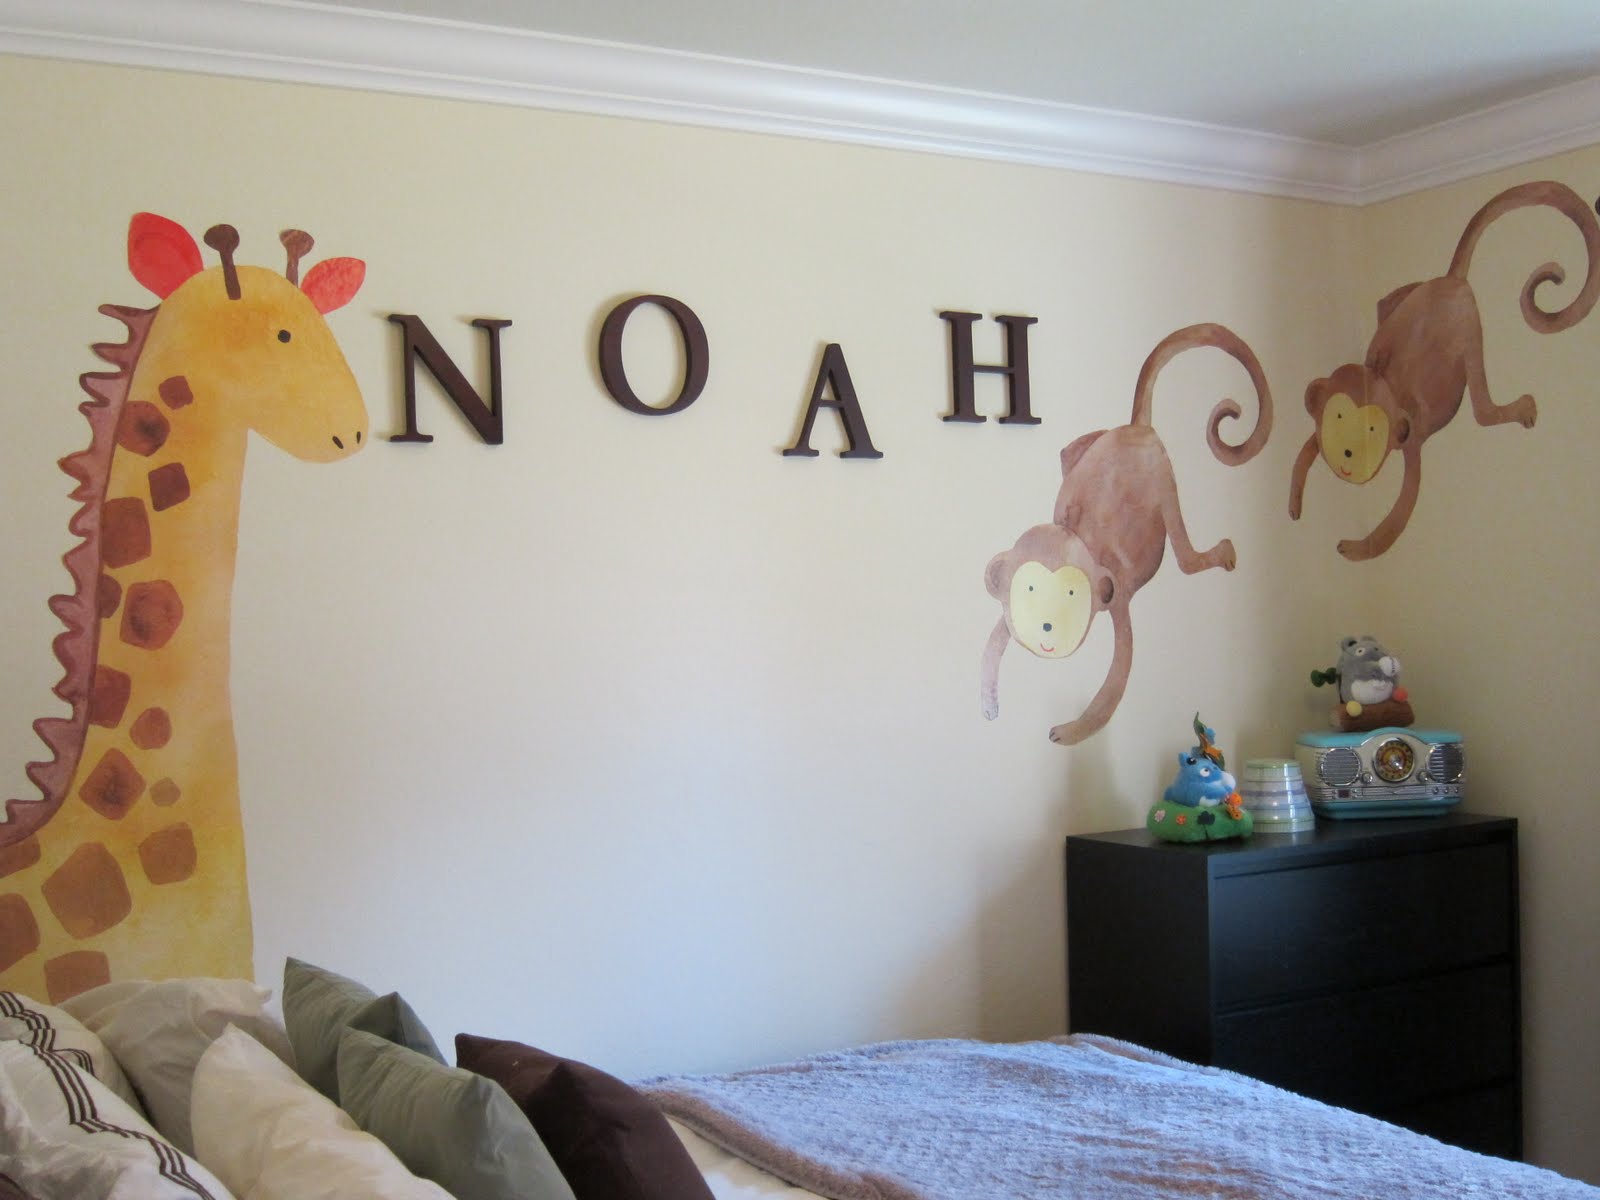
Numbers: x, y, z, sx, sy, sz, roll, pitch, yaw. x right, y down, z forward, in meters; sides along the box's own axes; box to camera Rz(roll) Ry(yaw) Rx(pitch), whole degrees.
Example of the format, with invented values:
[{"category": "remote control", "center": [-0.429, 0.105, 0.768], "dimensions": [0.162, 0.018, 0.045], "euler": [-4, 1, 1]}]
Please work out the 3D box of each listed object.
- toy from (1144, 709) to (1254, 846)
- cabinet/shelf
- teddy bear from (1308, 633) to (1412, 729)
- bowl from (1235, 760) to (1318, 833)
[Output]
[{"category": "toy", "center": [1.002, 0.463, 3.498], "dimensions": [0.301, 0.452, 0.249], "euler": [1, -11, -8]}, {"category": "cabinet/shelf", "center": [1.171, 0.923, 3.188], "dimensions": [0.777, 0.819, 0.390], "euler": [4, -5, -27]}, {"category": "teddy bear", "center": [1.549, 0.214, 3.690], "dimensions": [0.249, 0.272, 0.223], "euler": [-4, 1, -2]}, {"category": "bowl", "center": [1.250, 0.530, 3.545], "dimensions": [0.190, 0.191, 0.207], "euler": [1, -9, 0]}]
